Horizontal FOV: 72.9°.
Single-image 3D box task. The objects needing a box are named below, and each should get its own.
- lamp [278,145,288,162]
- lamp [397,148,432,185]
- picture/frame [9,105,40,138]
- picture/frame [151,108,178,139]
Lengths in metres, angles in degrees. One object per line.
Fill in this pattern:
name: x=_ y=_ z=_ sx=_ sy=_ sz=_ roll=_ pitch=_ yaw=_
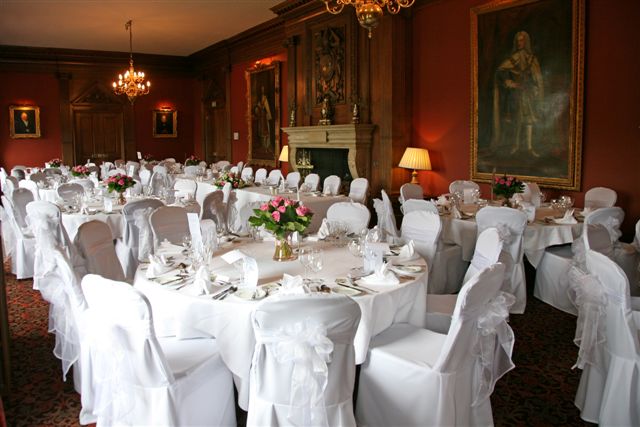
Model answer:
lamp: x=-0.954 y=-1.582 z=11.469 sx=0.413 sy=0.487 sz=0.423 roll=1 pitch=15 yaw=-2
lamp: x=1.908 y=-0.908 z=8.721 sx=0.675 sy=0.852 sz=0.694 roll=14 pitch=16 yaw=39
picture/frame: x=-9.654 y=-2.979 z=14.018 sx=0.936 sy=1.327 sz=0.125 roll=-5 pitch=11 yaw=-37
picture/frame: x=-5.772 y=-3.338 z=15.894 sx=0.965 sy=1.173 sz=0.111 roll=-5 pitch=12 yaw=-34
